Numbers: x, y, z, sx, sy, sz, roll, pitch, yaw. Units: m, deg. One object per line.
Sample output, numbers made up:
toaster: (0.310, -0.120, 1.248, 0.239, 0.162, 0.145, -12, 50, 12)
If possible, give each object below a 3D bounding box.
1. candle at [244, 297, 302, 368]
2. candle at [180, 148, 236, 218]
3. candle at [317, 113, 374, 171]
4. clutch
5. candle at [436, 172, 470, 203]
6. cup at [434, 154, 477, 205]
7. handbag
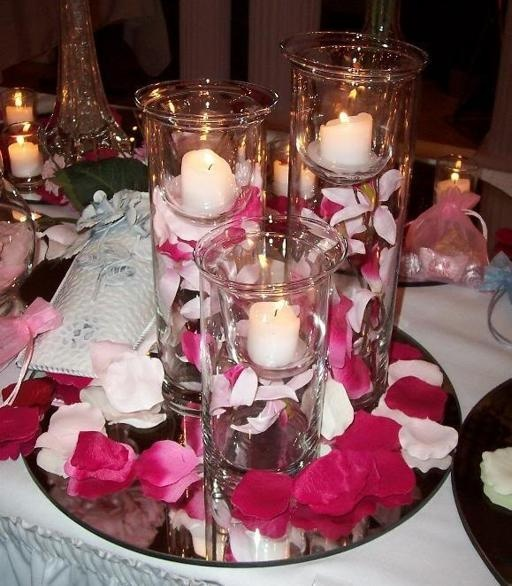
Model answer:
candle: (0.005, 0.028, 0.391, 0.049, 0.049, 0.047, -1, 28, -5)
candle: (-0.041, -0.094, 0.446, 0.049, 0.048, 0.035, -1, 39, -3)
candle: (0.083, -0.135, 0.446, 0.053, 0.041, 0.050, -9, 33, -6)
clutch: (-0.233, -0.157, 0.786, 0.109, 0.022, 0.100, -19, 79, -8)
candle: (0.328, -0.179, 0.877, 0.058, 0.040, 0.055, 1, 35, 6)
cup: (0.332, -0.200, 0.917, 0.086, 0.090, 0.082, -1, 15, 0)
handbag: (-0.183, -0.011, 0.624, 0.163, 0.063, 0.218, -3, 48, 5)
